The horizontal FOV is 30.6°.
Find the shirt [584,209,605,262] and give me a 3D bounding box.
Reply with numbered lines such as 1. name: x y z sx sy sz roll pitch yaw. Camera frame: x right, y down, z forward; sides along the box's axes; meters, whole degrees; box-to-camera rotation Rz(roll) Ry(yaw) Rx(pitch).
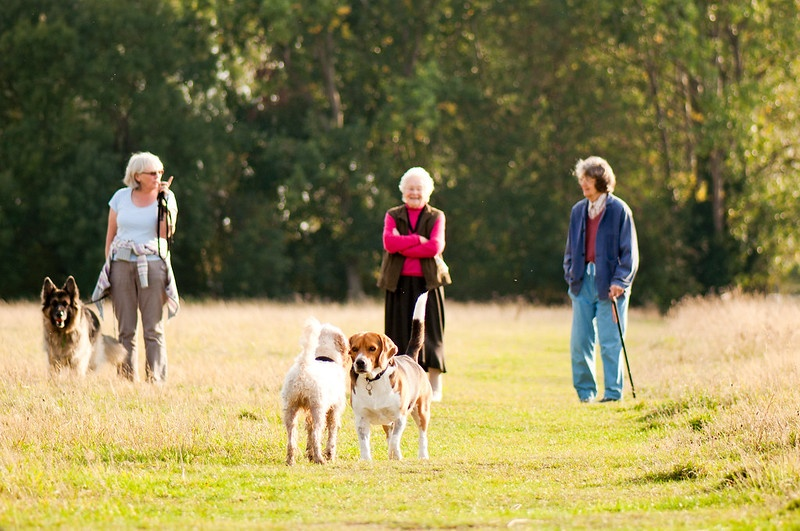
1. shirt: 4.650 -0.598 35.294 0.507 1.638 0.162 2 -35 10

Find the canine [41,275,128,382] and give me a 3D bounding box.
1. canine: -7.820 1.919 36.229 1.093 2.590 4.059 0 -10 10

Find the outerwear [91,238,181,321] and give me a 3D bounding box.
1. outerwear: -6.488 0.459 36.020 1.892 2.202 0.925 1 -11 -7

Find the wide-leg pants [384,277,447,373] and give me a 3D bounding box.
1. wide-leg pants: 0.333 1.419 34.111 1.751 3.143 1.425 1 -1 -4
